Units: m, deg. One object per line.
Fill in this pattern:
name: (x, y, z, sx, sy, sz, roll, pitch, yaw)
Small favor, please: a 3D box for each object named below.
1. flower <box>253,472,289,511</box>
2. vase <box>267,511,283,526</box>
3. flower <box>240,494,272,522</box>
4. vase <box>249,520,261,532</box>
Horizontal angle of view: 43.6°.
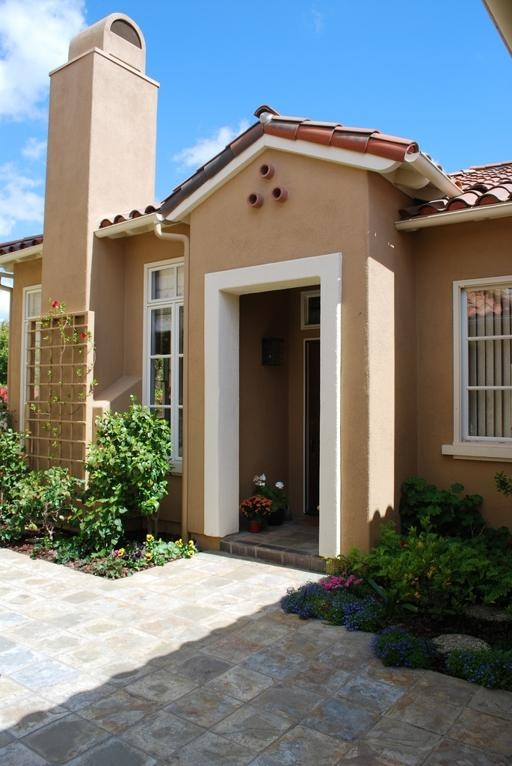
flower: (0.164, 1.151, 6.914, 0.322, 0.241, 0.414, 20, 30, -3)
vase: (0.220, 1.435, 6.809, 0.148, 0.123, 0.165, 0, -10, 1)
flower: (-0.009, 1.250, 6.509, 0.258, 0.243, 0.260, 0, -2, 4)
vase: (-0.009, 1.440, 6.486, 0.110, 0.118, 0.112, -3, -9, 26)
